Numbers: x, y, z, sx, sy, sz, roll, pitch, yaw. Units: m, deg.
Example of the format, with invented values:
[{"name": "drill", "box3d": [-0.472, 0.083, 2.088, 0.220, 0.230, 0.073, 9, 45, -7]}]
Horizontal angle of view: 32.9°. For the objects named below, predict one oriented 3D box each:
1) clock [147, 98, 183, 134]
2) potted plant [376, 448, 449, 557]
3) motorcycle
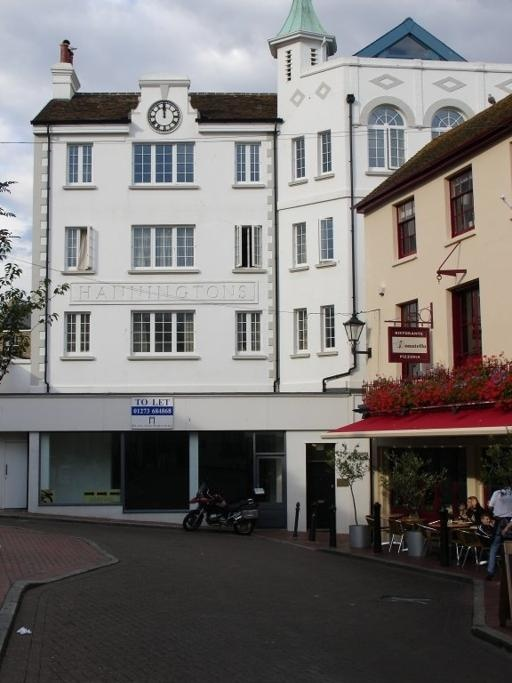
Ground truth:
[{"name": "clock", "box3d": [-3.178, -7.564, 30.084, 1.059, 1.206, 1.143, 0, -22, -2]}, {"name": "potted plant", "box3d": [3.935, 3.806, 20.609, 1.983, 2.703, 1.900, 3, -7, -24]}, {"name": "motorcycle", "box3d": [-0.926, 4.760, 24.477, 2.199, 1.481, 1.143, 2, -16, 7]}]
